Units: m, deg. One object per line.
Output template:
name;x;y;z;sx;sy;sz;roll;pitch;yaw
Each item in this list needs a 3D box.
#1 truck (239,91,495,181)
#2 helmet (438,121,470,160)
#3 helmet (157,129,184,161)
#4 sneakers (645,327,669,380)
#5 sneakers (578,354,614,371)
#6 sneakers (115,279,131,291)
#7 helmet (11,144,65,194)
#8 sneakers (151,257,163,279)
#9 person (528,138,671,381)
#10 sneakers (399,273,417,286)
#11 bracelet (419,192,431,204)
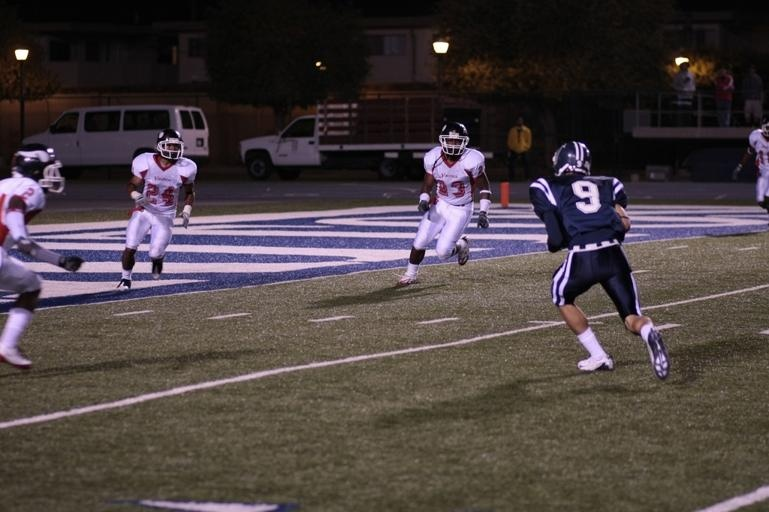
truck;-2.164;-4.586;38.214;12.291;3.666;3.473;2;6;9
helmet;0.946;-1.558;13.666;0.354;0.524;0.409;0;5;1
helmet;-2.934;-1.500;13.818;0.371;0.362;0.463;-1;6;-27
sneakers;2.258;0.802;8.248;0.156;0.430;0.198;-14;-1;26
sneakers;1.907;0.944;8.998;0.263;0.108;0.155;0;4;-5
sneakers;-3.496;0.375;13.351;0.190;0.141;0.230;-1;5;-3
helmet;-3.299;-0.798;9.465;0.492;0.389;0.360;1;0;-26
sneakers;-3.197;0.163;13.837;0.188;0.291;0.226;3;-9;-11
person;1.879;0.023;8.787;1.217;2.042;0.796;2;6;24
sneakers;0.310;0.311;13.604;0.290;0.159;0.267;-1;5;-5
bracelet;0.541;-0.790;13.555;0.128;0.106;0.144;0;-5;2
